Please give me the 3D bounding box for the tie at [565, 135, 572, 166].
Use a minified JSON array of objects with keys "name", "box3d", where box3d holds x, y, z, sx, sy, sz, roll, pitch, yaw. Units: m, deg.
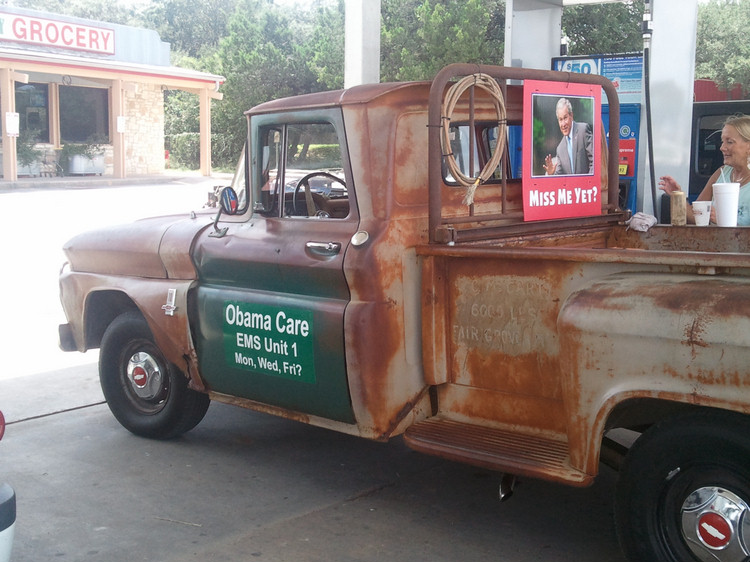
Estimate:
[{"name":"tie","box3d":[1.337,-0.909,4.387,0.029,0.241,0.028,-3,-1,-17]}]
